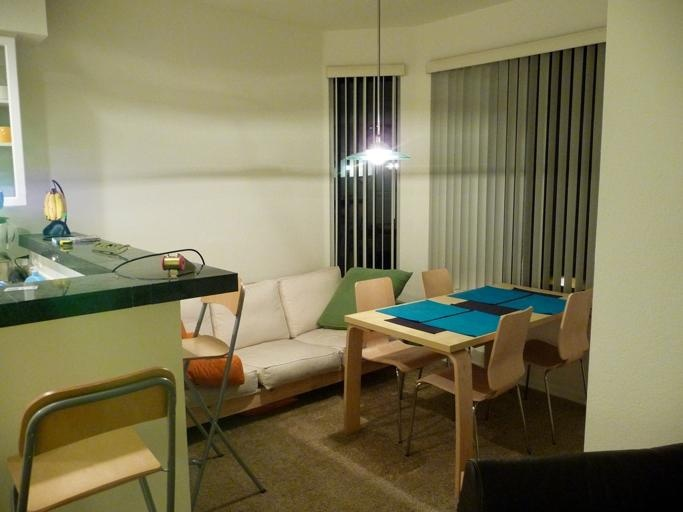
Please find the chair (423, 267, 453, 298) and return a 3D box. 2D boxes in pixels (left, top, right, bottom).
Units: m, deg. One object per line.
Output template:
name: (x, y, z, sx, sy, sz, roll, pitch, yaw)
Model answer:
chair: (0.796, 0.200, 4.445, 0.200, 0.345, 0.240, -7, 8, -23)
